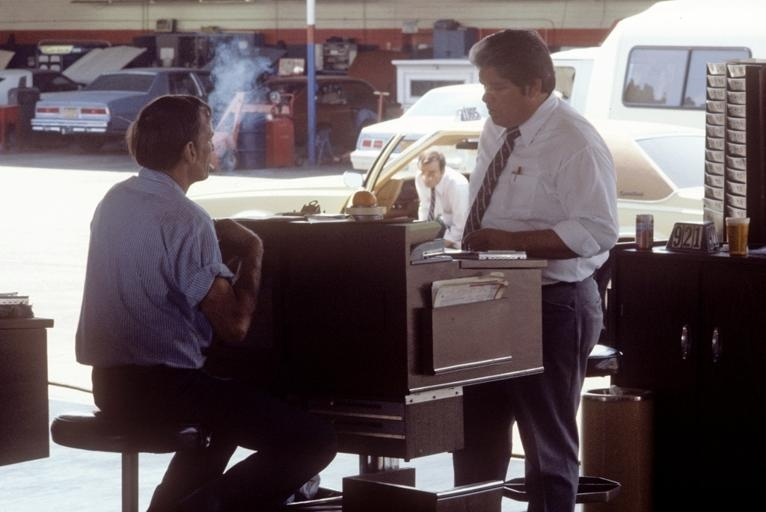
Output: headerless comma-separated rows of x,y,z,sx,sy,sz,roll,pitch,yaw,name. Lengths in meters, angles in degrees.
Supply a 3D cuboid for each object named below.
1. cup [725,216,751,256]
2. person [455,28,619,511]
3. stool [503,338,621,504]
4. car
1.774,-0.102,5.368,0.100,0.181,0.171,2,8,17,cup
0.720,0.073,5.092,0.764,2.237,0.595,2,7,13,person
0.868,0.846,5.572,0.711,0.749,0.718,1,-2,4,stool
0.603,-0.815,9.437,4.212,1.623,2.261,3,7,18,car
